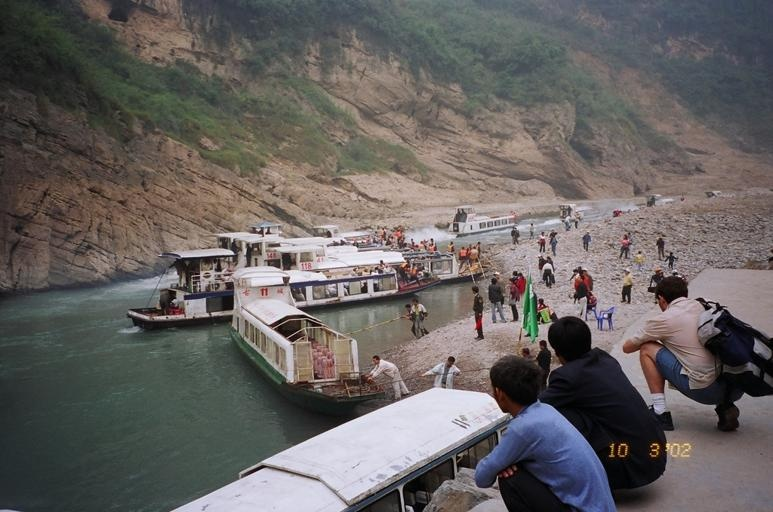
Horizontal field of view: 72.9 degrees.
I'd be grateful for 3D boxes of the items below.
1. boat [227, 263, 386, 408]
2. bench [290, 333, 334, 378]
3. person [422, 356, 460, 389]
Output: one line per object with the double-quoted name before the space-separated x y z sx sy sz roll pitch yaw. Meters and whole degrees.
"boat" -4.169 3.582 25.434 3.845 3.283 12.024 -4 11 -28
"bench" -3.228 4.364 22.384 1.816 0.925 1.759 0 0 -43
"person" 2.287 4.539 20.601 1.004 1.304 2.402 0 -3 6
